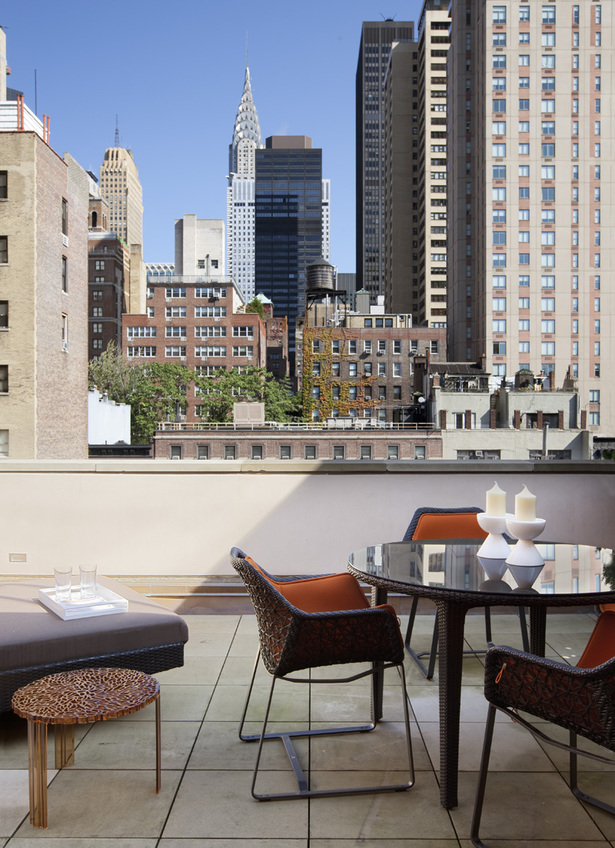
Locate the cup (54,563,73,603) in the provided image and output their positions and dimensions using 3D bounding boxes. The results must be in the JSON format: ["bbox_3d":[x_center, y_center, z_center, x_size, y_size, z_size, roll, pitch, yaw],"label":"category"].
[{"bbox_3d":[-1.088,0.750,5.410,0.108,0.202,0.119,-1,1,-3],"label":"cup"}]

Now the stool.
[{"bbox_3d":[-0.827,1.244,4.596,0.533,0.463,0.780,-2,3,-3],"label":"stool"}]

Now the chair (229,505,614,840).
[{"bbox_3d":[0.385,0.841,4.535,1.039,0.719,1.098,-1,6,-7],"label":"chair"}]
